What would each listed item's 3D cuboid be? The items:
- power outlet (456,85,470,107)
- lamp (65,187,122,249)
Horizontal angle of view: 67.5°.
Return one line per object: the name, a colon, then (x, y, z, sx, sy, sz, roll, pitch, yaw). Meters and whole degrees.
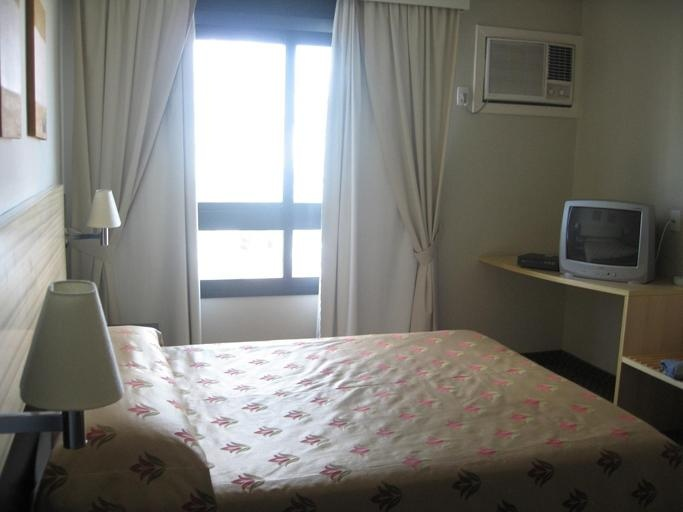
power outlet: (0.922, -1.210, 3.892, 0.127, 0.138, 0.031, -3, 8, -12)
lamp: (-1.397, -0.206, 2.866, 0.295, 0.305, 0.185, -3, 9, -27)
